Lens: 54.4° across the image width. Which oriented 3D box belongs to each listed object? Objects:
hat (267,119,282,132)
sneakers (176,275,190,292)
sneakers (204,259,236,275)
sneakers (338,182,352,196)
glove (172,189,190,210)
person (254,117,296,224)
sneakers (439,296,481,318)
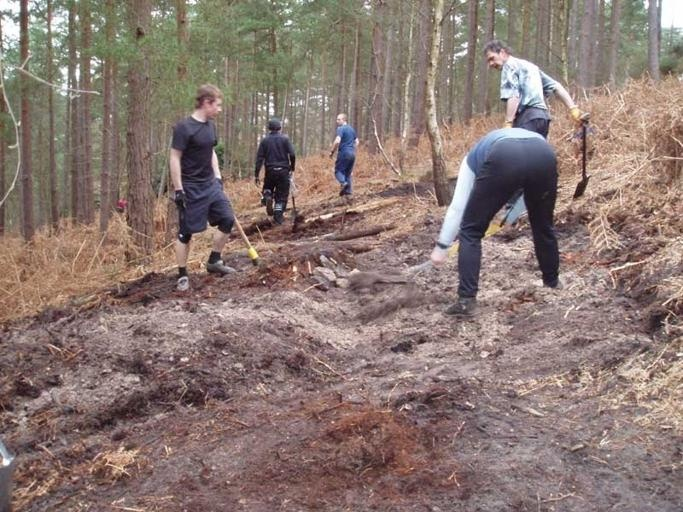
[{"bbox_3d":[-1.314,-2.550,12.973,0.198,0.243,0.290,1,24,-5],"label":"hat"},{"bbox_3d":[-2.055,0.372,8.666,0.205,0.315,0.161,2,-12,-12],"label":"sneakers"},{"bbox_3d":[-1.688,0.155,9.297,0.442,0.214,0.173,1,9,-6],"label":"sneakers"},{"bbox_3d":[0.105,-1.503,14.757,0.138,0.200,0.450,7,-27,-7],"label":"sneakers"},{"bbox_3d":[-2.085,-0.737,8.649,0.151,0.258,0.159,-6,14,-16],"label":"glove"},{"bbox_3d":[-1.351,-1.708,13.461,0.795,2.135,1.297,-4,13,-7],"label":"person"},{"bbox_3d":[1.359,0.585,7.625,0.406,0.307,0.168,7,12,17],"label":"sneakers"}]
